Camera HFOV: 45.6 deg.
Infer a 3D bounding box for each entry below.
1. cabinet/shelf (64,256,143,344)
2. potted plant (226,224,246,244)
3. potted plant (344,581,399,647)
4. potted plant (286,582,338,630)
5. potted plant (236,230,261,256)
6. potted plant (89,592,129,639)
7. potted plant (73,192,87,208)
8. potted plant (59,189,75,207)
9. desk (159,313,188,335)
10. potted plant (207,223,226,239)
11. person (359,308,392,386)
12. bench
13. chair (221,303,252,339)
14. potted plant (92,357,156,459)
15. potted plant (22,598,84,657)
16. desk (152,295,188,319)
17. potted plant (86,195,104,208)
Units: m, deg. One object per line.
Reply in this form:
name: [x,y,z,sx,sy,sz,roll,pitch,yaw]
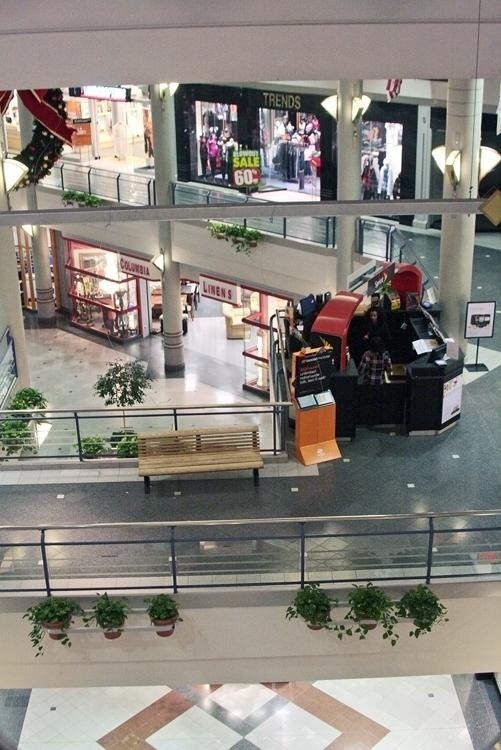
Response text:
cabinet/shelf: [-4.628,-2.399,19.010,2.429,2.278,0.869,14,28,33]
potted plant: [-0.346,-3.396,14.344,0.490,0.406,0.573,-4,42,-17]
potted plant: [0.980,1.829,4.690,0.352,0.378,0.397,-2,14,-16]
potted plant: [0.486,1.928,4.780,0.393,0.473,0.310,-1,11,2]
potted plant: [-0.034,-3.242,14.325,0.583,0.434,0.487,4,52,4]
potted plant: [-1.118,1.898,4.667,0.273,0.347,0.274,12,34,18]
potted plant: [-4.807,-5.022,16.882,0.416,0.375,0.368,-2,11,-5]
potted plant: [-5.147,-5.067,16.917,0.529,0.392,0.473,-4,23,-12]
desk: [-2.390,-1.605,19.116,0.800,0.596,0.772,-1,21,-3]
potted plant: [-0.822,-3.572,14.707,0.538,0.398,0.174,8,14,38]
person: [1.682,-0.399,7.997,0.399,1.000,0.705,1,11,11]
bench: [-0.538,0.787,6.397,1.326,0.334,0.707,-3,11,-11]
chair: [-0.482,-1.682,18.314,0.986,1.075,1.235,-2,42,-1]
potted plant: [-2.343,0.573,10.940,1.107,1.677,0.835,-4,30,-4]
potted plant: [-1.606,1.914,4.804,0.457,0.400,0.458,-6,27,-16]
desk: [-2.795,-2.324,20.229,0.916,1.003,1.052,3,2,-1]
potted plant: [-4.423,-4.975,16.835,0.407,0.312,0.328,3,12,20]
